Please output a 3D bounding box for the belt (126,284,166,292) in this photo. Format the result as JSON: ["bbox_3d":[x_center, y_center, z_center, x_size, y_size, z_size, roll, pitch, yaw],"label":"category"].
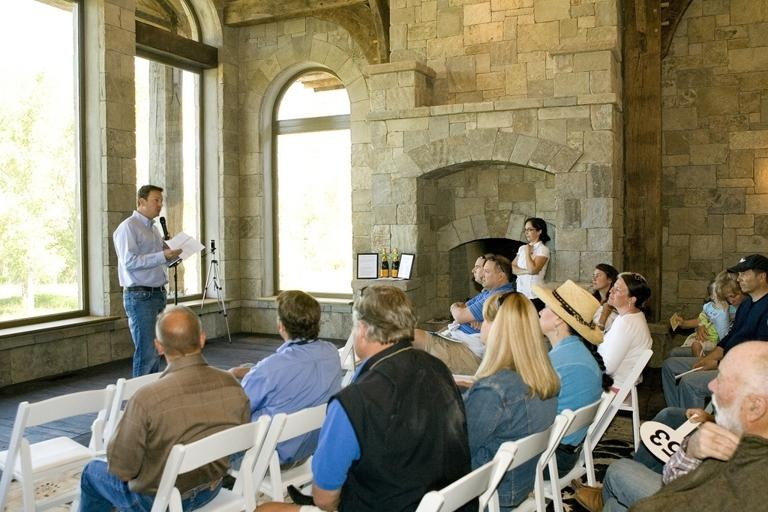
[{"bbox_3d":[-2.294,0.311,5.769,0.295,0.045,0.064,-3,2,-27],"label":"belt"}]

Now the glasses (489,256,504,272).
[{"bbox_3d":[0.990,0.066,5.384,0.098,0.133,0.130,1,36,-11],"label":"glasses"}]

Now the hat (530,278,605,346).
[{"bbox_3d":[1.144,0.364,3.759,0.404,0.414,0.251,-2,2,14],"label":"hat"}]

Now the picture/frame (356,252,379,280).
[{"bbox_3d":[-0.211,0.130,7.699,0.334,0.371,0.028,-1,-6,15],"label":"picture/frame"}]

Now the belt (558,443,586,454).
[{"bbox_3d":[1.160,1.194,3.775,0.098,0.046,0.128,2,0,42],"label":"belt"}]

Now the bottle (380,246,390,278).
[{"bbox_3d":[0.001,0.078,7.617,0.128,0.348,0.072,-2,2,16],"label":"bottle"}]

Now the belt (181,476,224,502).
[{"bbox_3d":[-0.992,1.257,3.291,0.133,0.040,0.094,-13,1,-26],"label":"belt"}]
